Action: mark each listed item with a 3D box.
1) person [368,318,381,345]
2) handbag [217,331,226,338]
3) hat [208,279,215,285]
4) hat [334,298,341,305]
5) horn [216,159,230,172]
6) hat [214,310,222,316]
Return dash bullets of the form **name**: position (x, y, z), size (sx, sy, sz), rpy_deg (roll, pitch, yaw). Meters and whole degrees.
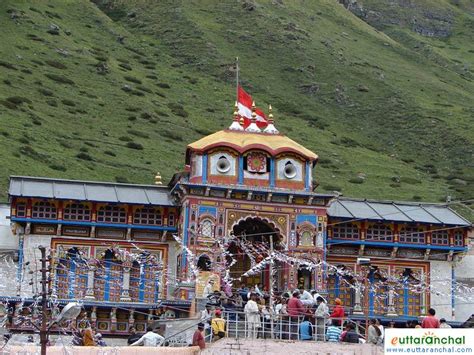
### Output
- **person**: position (9.186, 10.429, 80.287), size (0.998, 1.702, 0.592), rpy_deg (4, -14, -12)
- **handbag**: position (-1.099, 10.579, 79.800), size (0.495, 0.414, 0.645), rpy_deg (1, -12, 0)
- **hat**: position (-1.917, 7.729, 87.853), size (0.334, 0.328, 0.348), rpy_deg (2, -37, -2)
- **hat**: position (6.686, 8.341, 79.837), size (0.337, 0.435, 0.668), rpy_deg (2, -12, -1)
- **horn**: position (-0.862, -0.909, 91.069), size (1.215, 0.945, 1.210), rpy_deg (6, -6, -3)
- **hat**: position (-1.308, 9.082, 79.435), size (0.445, 0.533, 1.025), rpy_deg (2, -11, -2)
